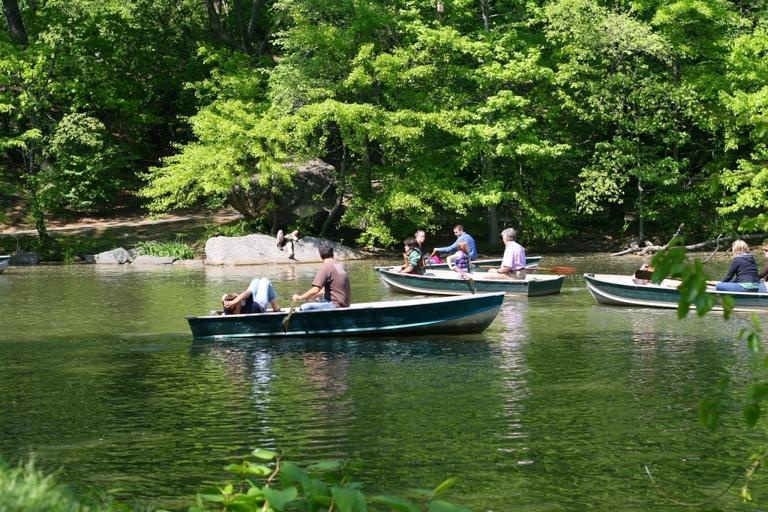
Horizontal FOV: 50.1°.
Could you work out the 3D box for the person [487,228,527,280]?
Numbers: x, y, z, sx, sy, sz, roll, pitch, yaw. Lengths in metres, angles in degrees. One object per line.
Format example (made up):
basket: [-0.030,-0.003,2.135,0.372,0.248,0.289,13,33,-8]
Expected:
person: [2.963,-0.037,20.006,1.089,1.140,0.964,4,15,26]

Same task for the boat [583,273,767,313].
boat: [5.102,0.669,14.373,3.940,0.513,0.850,2,4,19]

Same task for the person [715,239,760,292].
person: [7.222,0.185,16.730,0.679,1.138,1.160,7,13,38]

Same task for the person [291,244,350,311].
person: [-1.080,0.365,14.924,0.889,1.202,1.605,-2,9,-3]

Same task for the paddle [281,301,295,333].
paddle: [-1.764,1.153,15.185,0.082,0.290,0.652,-1,26,23]
